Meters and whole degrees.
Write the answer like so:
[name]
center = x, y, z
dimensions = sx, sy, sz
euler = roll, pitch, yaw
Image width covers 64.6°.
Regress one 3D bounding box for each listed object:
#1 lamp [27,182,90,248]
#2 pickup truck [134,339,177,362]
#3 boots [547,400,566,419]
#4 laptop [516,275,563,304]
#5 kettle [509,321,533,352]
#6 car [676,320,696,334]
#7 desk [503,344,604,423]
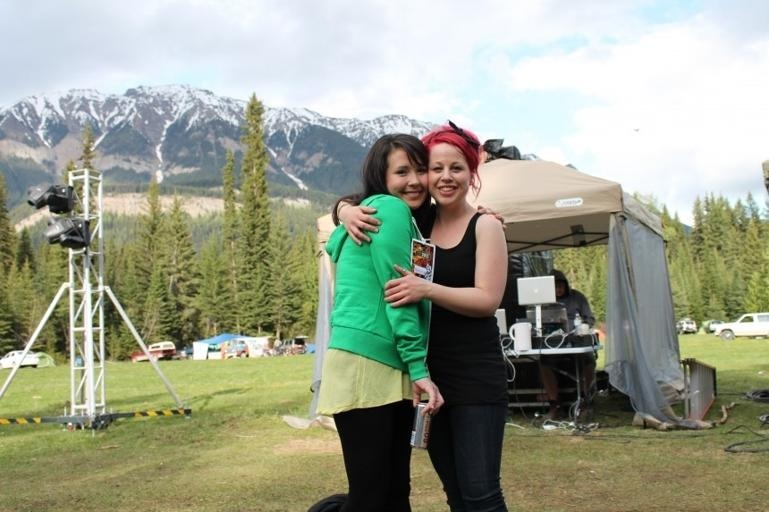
[lamp]
center = -5.800, -0.653, 11.342
dimensions = 1.316, 1.411, 0.932
euler = -2, -3, -21
[pickup truck]
center = -17.429, 7.256, 46.460
dimensions = 2.980, 1.473, 3.229
euler = 3, -3, -19
[boots]
center = 2.900, 2.585, 10.343
dimensions = 0.240, 0.320, 0.402
euler = 1, -3, 17
[laptop]
center = 2.593, 0.502, 10.316
dimensions = 0.635, 0.476, 0.475
euler = 0, 15, 20
[kettle]
center = 2.214, 1.297, 9.839
dimensions = 0.356, 0.472, 0.461
euler = 1, -3, 9
[car]
center = 26.472, 6.127, 53.296
dimensions = 1.542, 0.984, 2.111
euler = 1, 0, 9
[desk]
center = 2.822, 2.168, 10.573
dimensions = 1.744, 1.098, 2.416
euler = -1, -3, 22
